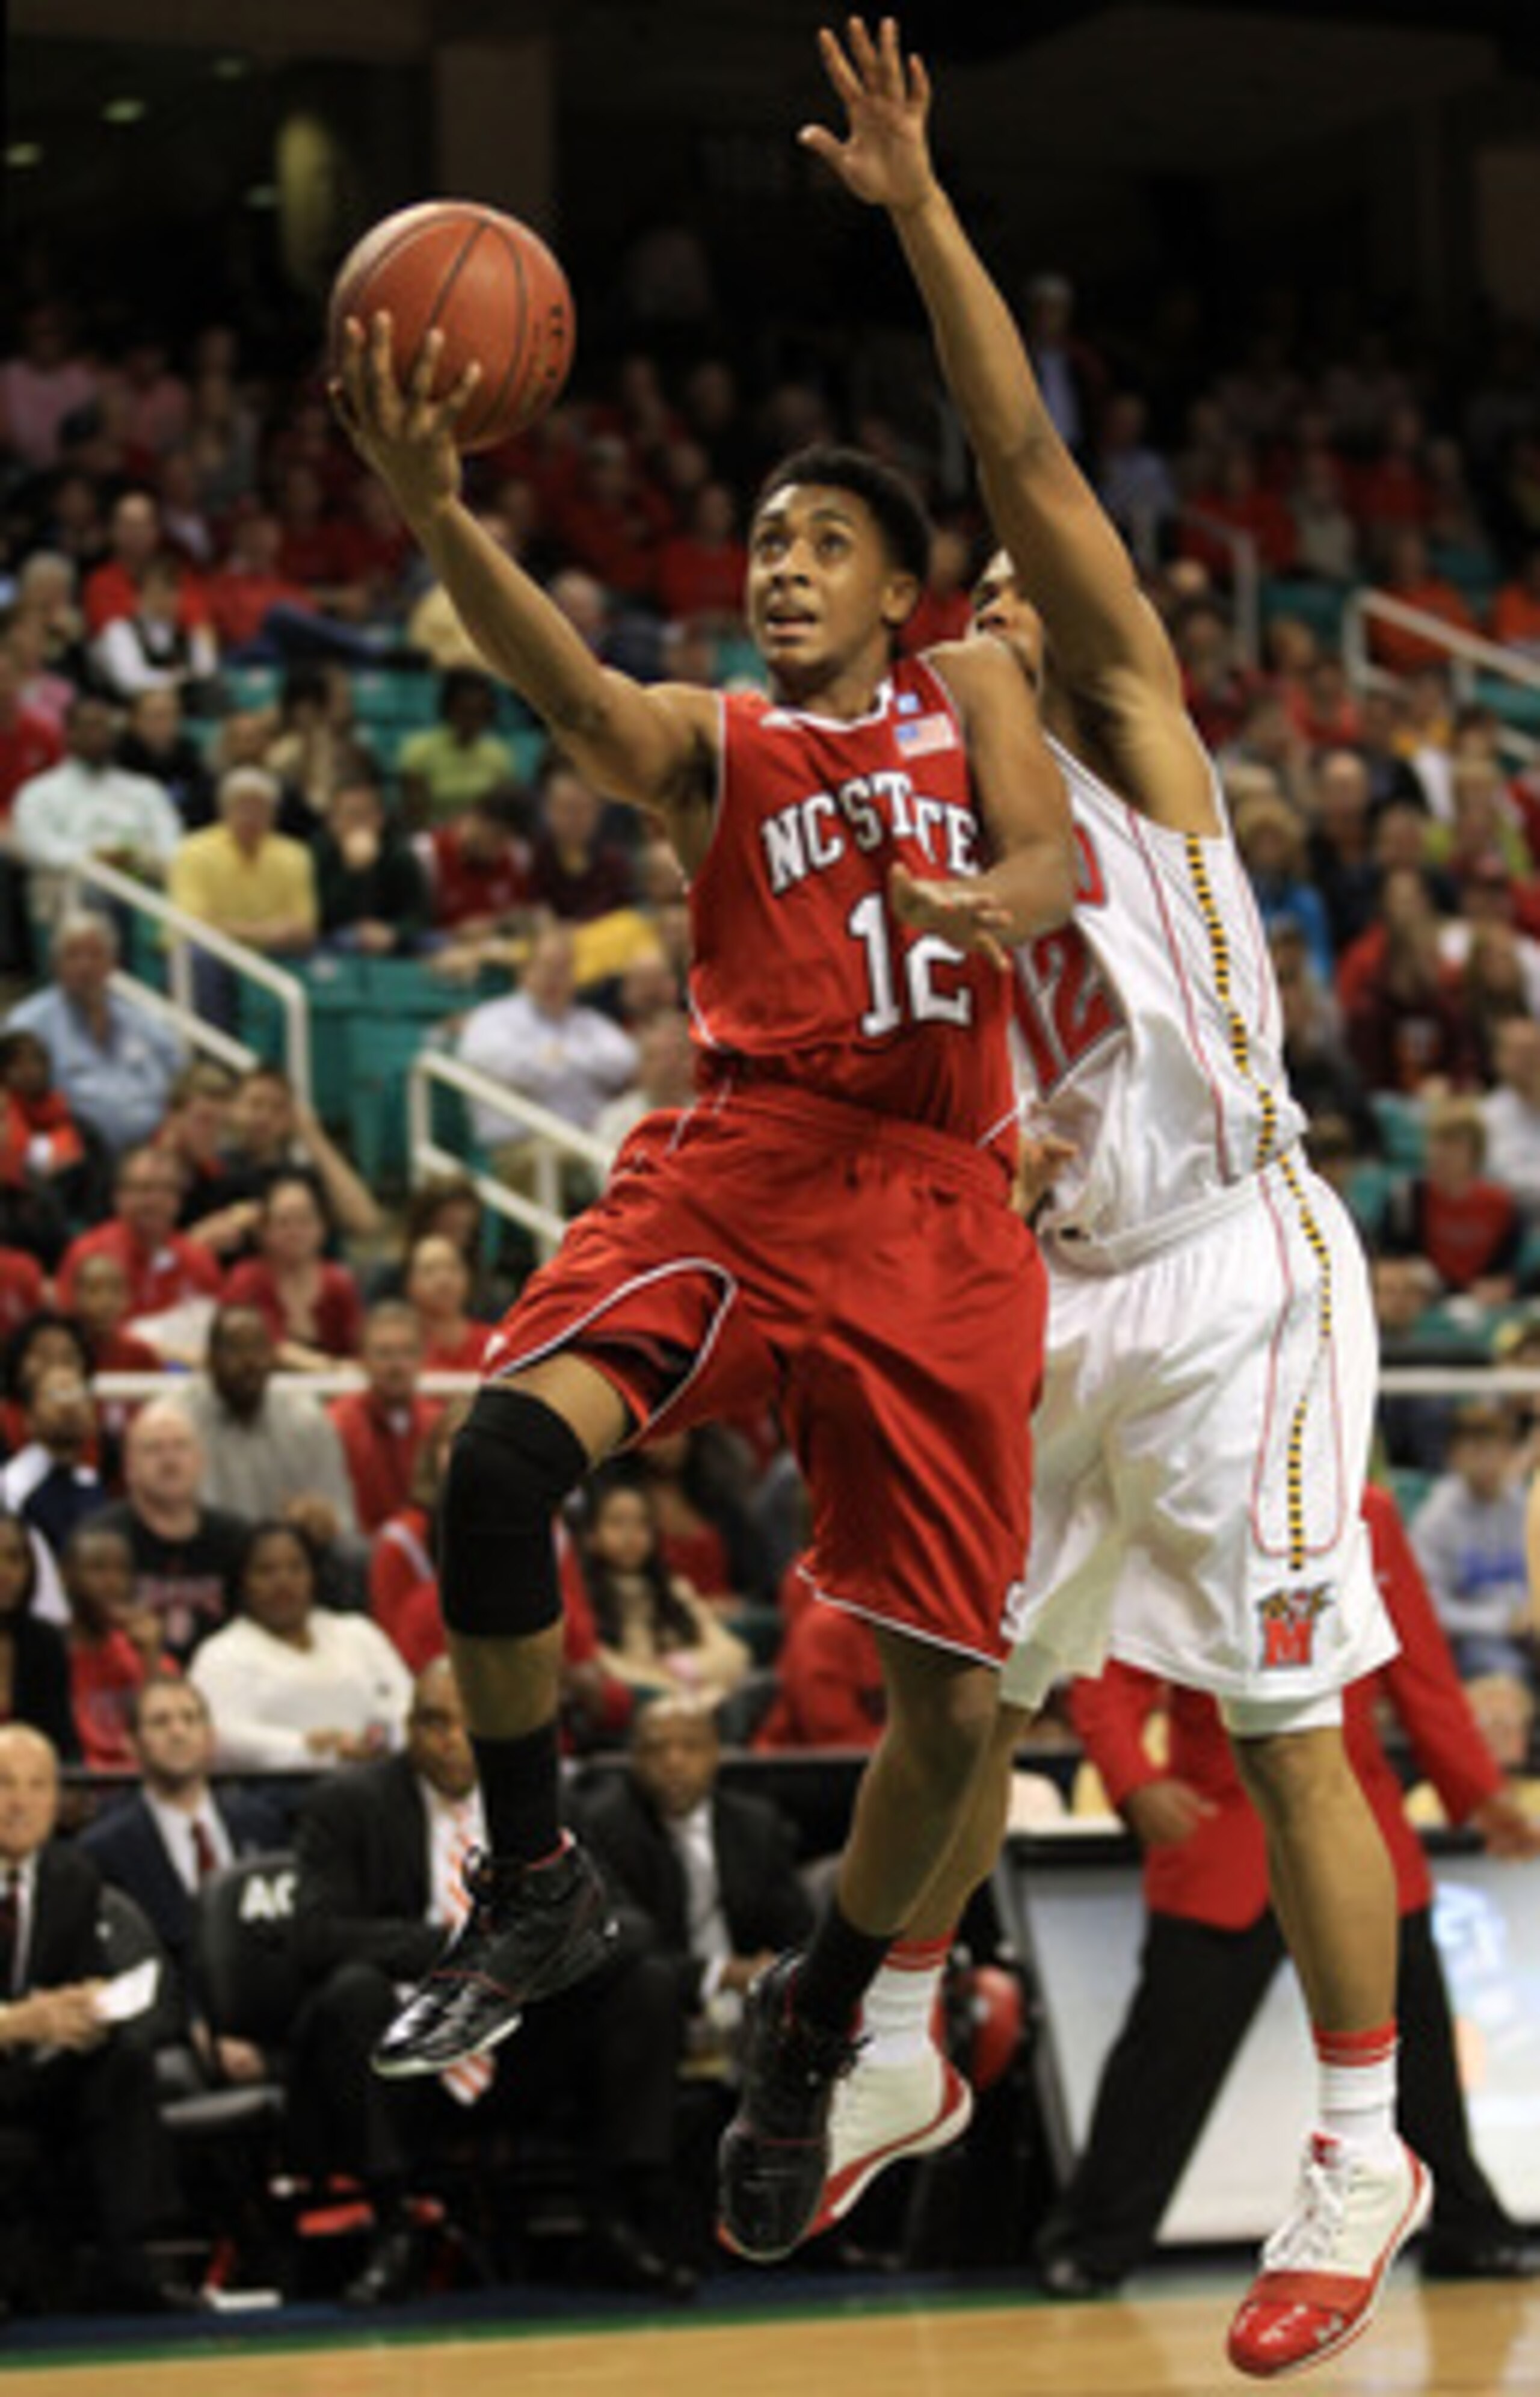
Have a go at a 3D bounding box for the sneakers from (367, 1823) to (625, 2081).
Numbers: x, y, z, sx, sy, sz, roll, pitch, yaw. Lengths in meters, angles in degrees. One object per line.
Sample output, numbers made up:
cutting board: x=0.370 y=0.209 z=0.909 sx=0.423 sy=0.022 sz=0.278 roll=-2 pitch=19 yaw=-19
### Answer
sneakers: x=-0.248 y=0.688 z=2.129 sx=0.160 sy=0.172 sz=0.288 roll=3 pitch=15 yaw=12

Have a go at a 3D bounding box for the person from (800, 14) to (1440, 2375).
person: x=0.397 y=0.035 z=2.484 sx=0.749 sy=2.418 sz=0.749 roll=7 pitch=18 yaw=26

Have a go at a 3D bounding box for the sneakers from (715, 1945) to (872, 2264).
sneakers: x=-0.005 y=0.981 z=2.515 sx=0.133 sy=0.353 sz=0.147 roll=8 pitch=9 yaw=-8

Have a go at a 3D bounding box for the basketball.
basketball: x=-0.278 y=-0.840 z=2.192 sx=0.267 sy=0.291 sz=0.245 roll=-5 pitch=42 yaw=-7

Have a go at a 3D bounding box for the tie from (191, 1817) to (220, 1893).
tie: x=-1.034 y=1.184 z=4.245 sx=0.025 sy=0.094 sz=0.073 roll=1 pitch=9 yaw=36
